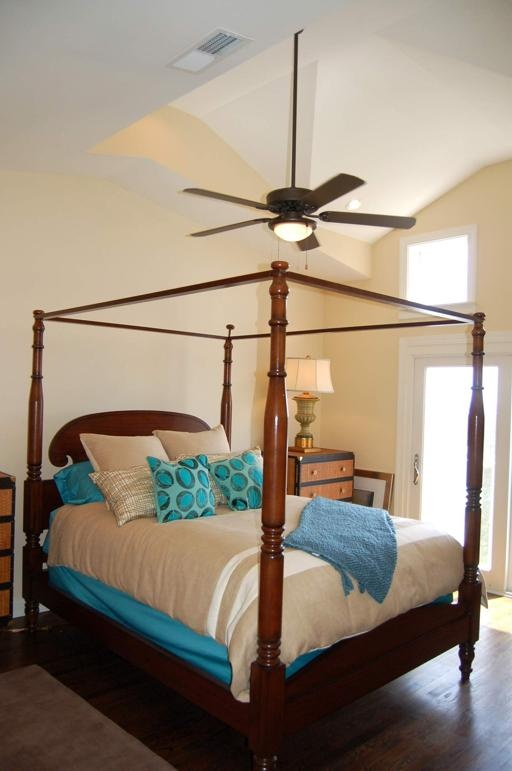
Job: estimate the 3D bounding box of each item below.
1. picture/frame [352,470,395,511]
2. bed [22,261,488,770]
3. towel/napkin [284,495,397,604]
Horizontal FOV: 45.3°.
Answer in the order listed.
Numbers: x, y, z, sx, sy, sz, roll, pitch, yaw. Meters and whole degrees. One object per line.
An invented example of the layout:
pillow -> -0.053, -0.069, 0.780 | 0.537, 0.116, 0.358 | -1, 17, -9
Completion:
picture/frame -> 0.951, 0.839, 4.917 | 0.014, 0.338, 0.349 | 4, 4, -39
bed -> 0.065, 0.298, 3.396 | 1.859, 2.147, 2.396 | -4, 8, -42
towel/napkin -> 0.380, 0.660, 2.577 | 0.321, 0.096, 0.321 | 8, 15, 26
